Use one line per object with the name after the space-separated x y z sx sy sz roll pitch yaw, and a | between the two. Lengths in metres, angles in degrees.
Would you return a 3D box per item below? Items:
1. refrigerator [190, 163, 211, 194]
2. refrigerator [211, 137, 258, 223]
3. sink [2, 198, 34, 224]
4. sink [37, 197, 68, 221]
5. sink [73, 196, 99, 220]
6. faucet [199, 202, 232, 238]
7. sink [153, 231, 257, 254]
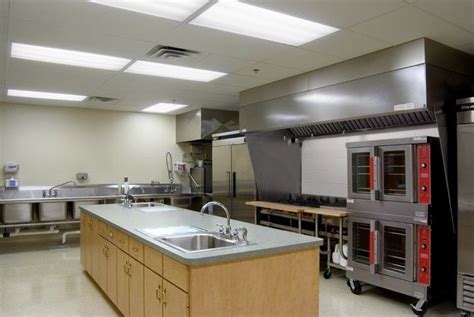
-0.987 0.579 9.323 0.637 0.666 0.507 0 -5 -19 | refrigerator
0.055 0.468 7.450 1.101 1.861 0.731 3 10 28 | refrigerator
-4.671 1.120 7.211 0.520 0.486 0.512 2 -2 -30 | sink
-4.082 1.121 7.487 0.508 0.433 0.502 2 -4 -42 | sink
-3.402 1.081 7.670 0.818 0.566 0.584 1 -1 -28 | sink
-0.230 0.697 3.899 0.400 0.497 0.231 1 30 -3 | faucet
-0.404 1.069 4.274 0.628 0.235 1.018 -12 -12 14 | sink
